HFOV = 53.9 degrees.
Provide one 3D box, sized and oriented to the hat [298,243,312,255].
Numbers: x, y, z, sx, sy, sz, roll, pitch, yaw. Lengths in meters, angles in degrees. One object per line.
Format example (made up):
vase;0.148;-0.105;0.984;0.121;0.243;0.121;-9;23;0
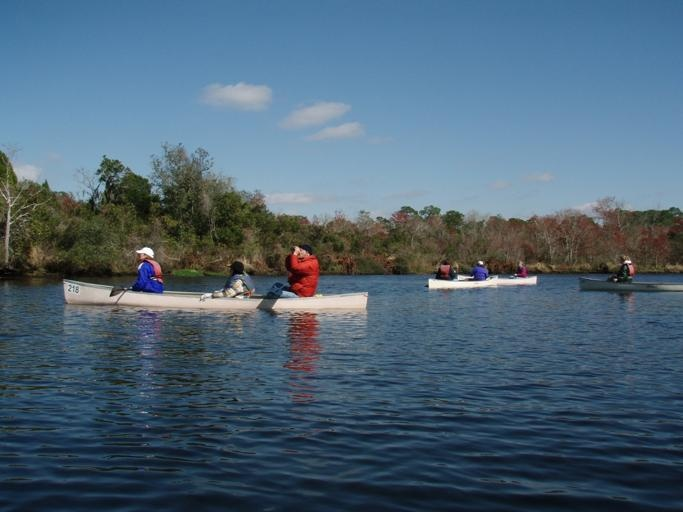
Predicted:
hat;-1.131;-0.202;21.734;0.384;0.354;1.018;0;6;-3

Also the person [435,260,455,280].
person;6.917;0.950;45.083;1.523;1.421;0.832;1;0;-9

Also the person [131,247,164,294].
person;-6.551;0.498;22.925;1.186;1.549;1.069;5;10;21
